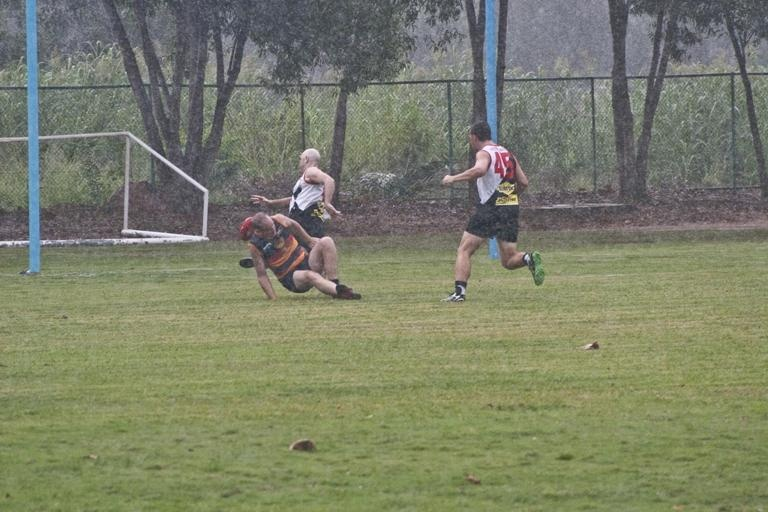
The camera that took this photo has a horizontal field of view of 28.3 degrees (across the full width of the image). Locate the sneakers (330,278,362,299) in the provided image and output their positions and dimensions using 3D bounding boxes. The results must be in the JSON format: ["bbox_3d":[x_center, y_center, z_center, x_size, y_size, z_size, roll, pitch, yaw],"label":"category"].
[{"bbox_3d":[-0.530,0.501,23.858,0.598,0.269,0.210,-1,2,19],"label":"sneakers"}]

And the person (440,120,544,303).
[{"bbox_3d":[1.720,-0.750,24.073,1.508,2.770,1.198,-1,2,6],"label":"person"}]

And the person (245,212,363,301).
[{"bbox_3d":[-1.174,-0.169,23.950,1.745,1.180,1.169,12,39,30],"label":"person"}]

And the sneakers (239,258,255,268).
[{"bbox_3d":[-2.154,0.054,23.857,0.234,0.131,0.142,-2,2,-23],"label":"sneakers"}]
